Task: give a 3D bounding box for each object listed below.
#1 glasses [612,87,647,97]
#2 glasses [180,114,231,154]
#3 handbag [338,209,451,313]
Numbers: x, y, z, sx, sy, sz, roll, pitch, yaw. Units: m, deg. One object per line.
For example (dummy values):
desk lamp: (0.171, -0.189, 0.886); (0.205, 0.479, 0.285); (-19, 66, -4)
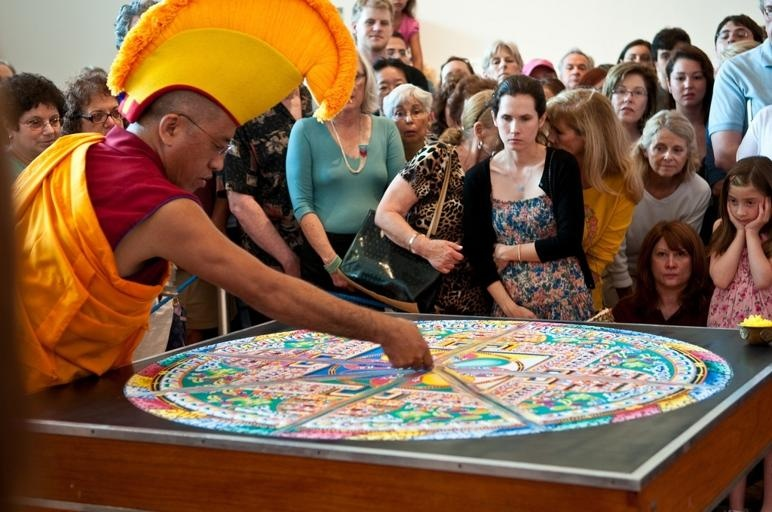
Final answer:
glasses: (1.804, -1.217, 4.317); (0.115, 0.033, 0.115); (0, -5, 8)
glasses: (-0.597, -0.413, 1.924); (0.034, 0.111, 0.109); (-35, -6, 4)
handbag: (0.040, 0.042, 3.206); (0.495, 0.159, 0.461); (31, 52, -7)
